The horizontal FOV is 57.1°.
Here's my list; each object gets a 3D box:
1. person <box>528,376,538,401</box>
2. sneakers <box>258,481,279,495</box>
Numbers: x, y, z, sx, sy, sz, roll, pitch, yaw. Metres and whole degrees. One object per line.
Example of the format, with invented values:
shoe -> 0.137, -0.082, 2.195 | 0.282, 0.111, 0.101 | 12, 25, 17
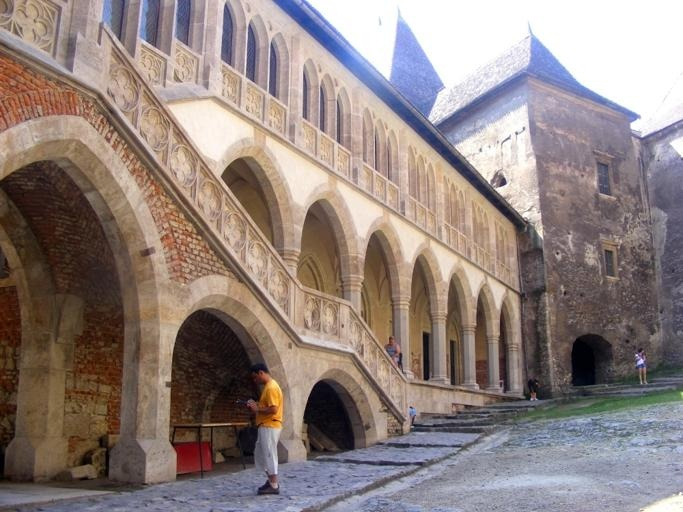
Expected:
person -> 8.091, 5.557, 26.359 | 0.411, 0.961, 1.288 | -8, -18, 15
sneakers -> -0.997, 3.148, 8.531 | 0.300, 0.176, 0.183 | -1, -18, -8
